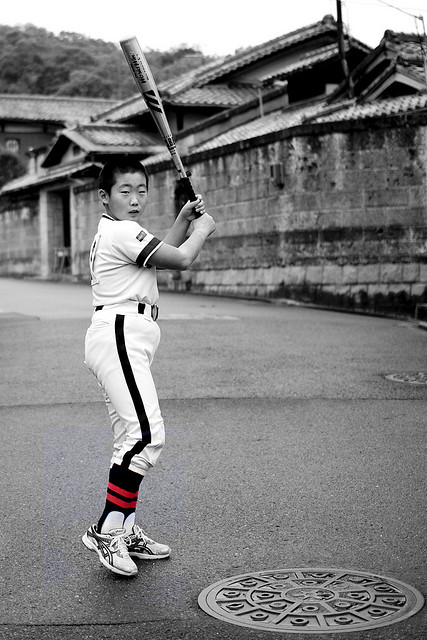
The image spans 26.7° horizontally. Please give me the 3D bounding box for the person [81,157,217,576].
[{"bbox_3d":[-0.283,0.143,3.668,0.556,1.634,0.586,-1,2,0],"label":"person"}]
